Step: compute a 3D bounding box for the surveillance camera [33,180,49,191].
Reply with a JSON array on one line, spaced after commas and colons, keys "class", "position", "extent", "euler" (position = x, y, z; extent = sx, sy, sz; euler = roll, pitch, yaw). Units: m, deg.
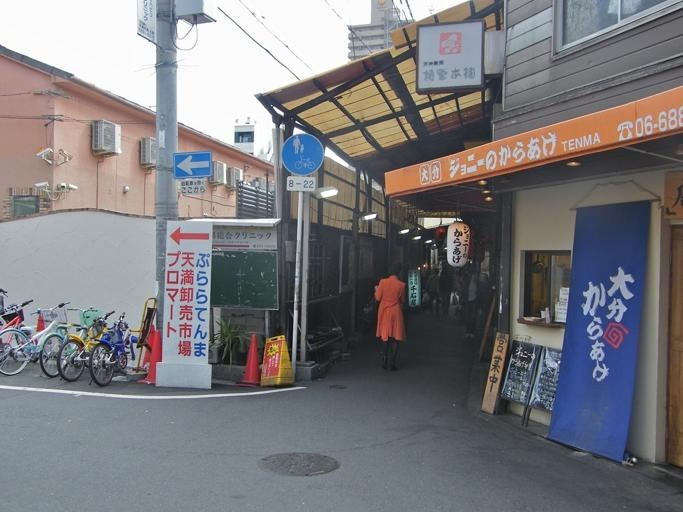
[{"class": "surveillance camera", "position": [-7.964, -1.849, 15.286], "extent": [0.453, 0.254, 0.122], "euler": [4, 6, 22]}]

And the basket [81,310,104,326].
[{"class": "basket", "position": [-5.226, 1.275, 12.071], "extent": [0.367, 0.336, 0.418], "euler": [5, -9, -35]}]

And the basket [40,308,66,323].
[{"class": "basket", "position": [-6.182, 1.274, 12.345], "extent": [0.488, 0.353, 0.413], "euler": [-1, -3, 10]}]

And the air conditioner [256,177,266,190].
[{"class": "air conditioner", "position": [-3.590, -3.300, 26.194], "extent": [0.438, 0.609, 2.030], "euler": [1, 5, -8]}]

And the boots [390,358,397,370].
[{"class": "boots", "position": [1.090, 2.353, 12.327], "extent": [0.114, 0.231, 0.229], "euler": [2, -8, 4]}]

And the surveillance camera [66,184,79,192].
[{"class": "surveillance camera", "position": [-7.371, -1.883, 15.817], "extent": [0.164, 0.205, 0.525], "euler": [0, 5, -12]}]

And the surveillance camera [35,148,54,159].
[{"class": "surveillance camera", "position": [-7.838, -2.711, 15.178], "extent": [0.438, 0.270, 0.210], "euler": [2, 5, 7]}]

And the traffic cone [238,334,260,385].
[{"class": "traffic cone", "position": [-1.754, 1.950, 11.188], "extent": [0.343, 0.933, 0.875], "euler": [1, 5, -10]}]

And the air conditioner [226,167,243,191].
[{"class": "air conditioner", "position": [-4.329, -3.106, 23.254], "extent": [0.404, 1.118, 1.189], "euler": [2, -1, 13]}]

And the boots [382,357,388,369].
[{"class": "boots", "position": [0.944, 2.324, 12.424], "extent": [0.154, 0.196, 0.495], "euler": [0, -11, 2]}]

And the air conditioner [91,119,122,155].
[{"class": "air conditioner", "position": [-6.641, -3.471, 16.806], "extent": [0.816, 0.800, 0.336], "euler": [9, 12, 12]}]

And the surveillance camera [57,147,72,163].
[{"class": "surveillance camera", "position": [-7.465, -2.668, 15.621], "extent": [0.143, 0.426, 0.533], "euler": [2, 5, 8]}]
